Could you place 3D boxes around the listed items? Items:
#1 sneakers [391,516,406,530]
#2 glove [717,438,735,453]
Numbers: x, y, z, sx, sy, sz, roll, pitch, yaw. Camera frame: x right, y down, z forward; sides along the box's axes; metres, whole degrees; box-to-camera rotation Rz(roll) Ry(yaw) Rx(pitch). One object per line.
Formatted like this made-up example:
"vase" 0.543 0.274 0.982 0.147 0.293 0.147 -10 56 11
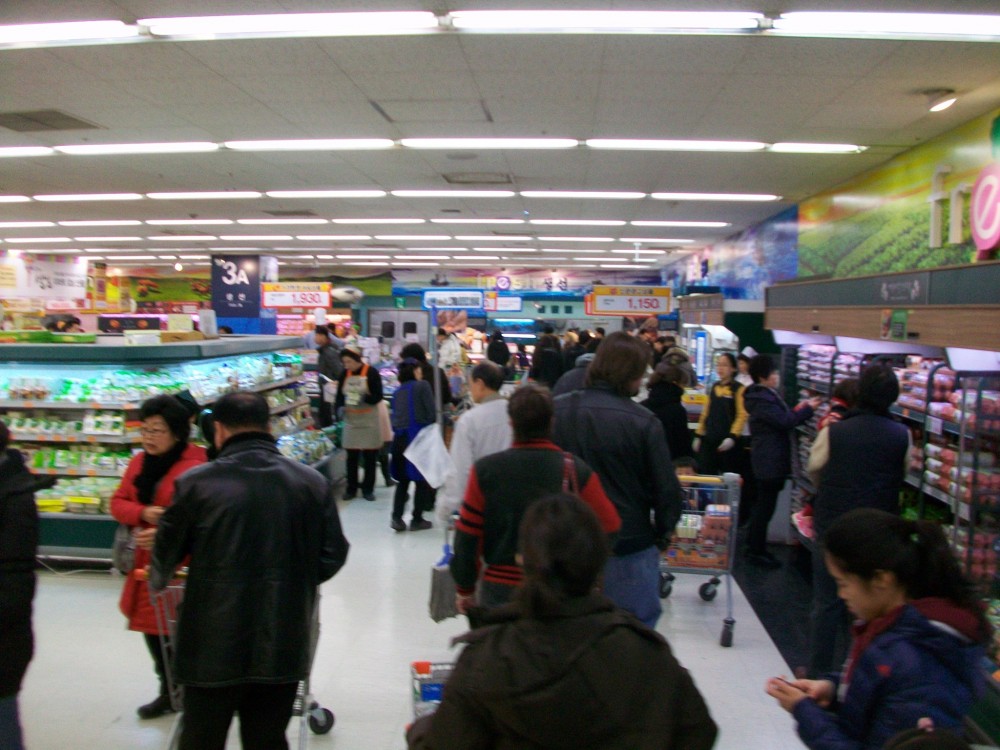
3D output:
"sneakers" -0.966 1.438 6.827 0.112 0.144 0.164 2 -22 -7
"glove" 2.025 0.620 6.321 0.113 0.103 0.127 -8 21 7
